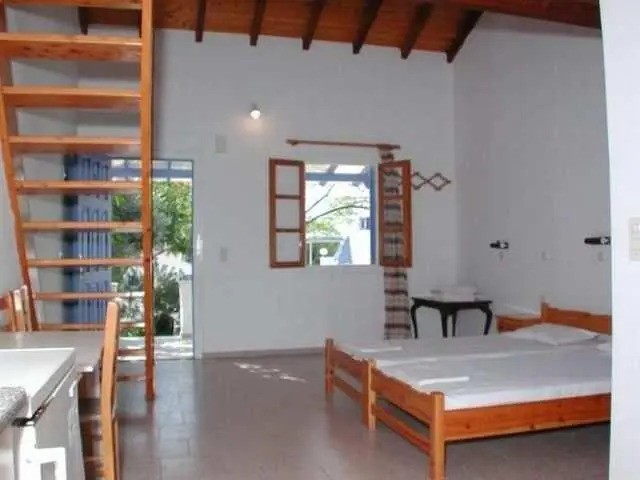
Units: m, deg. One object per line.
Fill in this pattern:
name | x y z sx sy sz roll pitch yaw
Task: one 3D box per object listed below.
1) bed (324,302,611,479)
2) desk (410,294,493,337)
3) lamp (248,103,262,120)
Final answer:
bed | 1.357 1.021 4.199 2.178 0.807 2.016 -1 2 -20
desk | 1.646 0.815 6.283 0.669 0.665 0.676 -2 4 -24
lamp | -0.787 -1.607 6.218 0.155 0.203 0.245 -1 2 -8
